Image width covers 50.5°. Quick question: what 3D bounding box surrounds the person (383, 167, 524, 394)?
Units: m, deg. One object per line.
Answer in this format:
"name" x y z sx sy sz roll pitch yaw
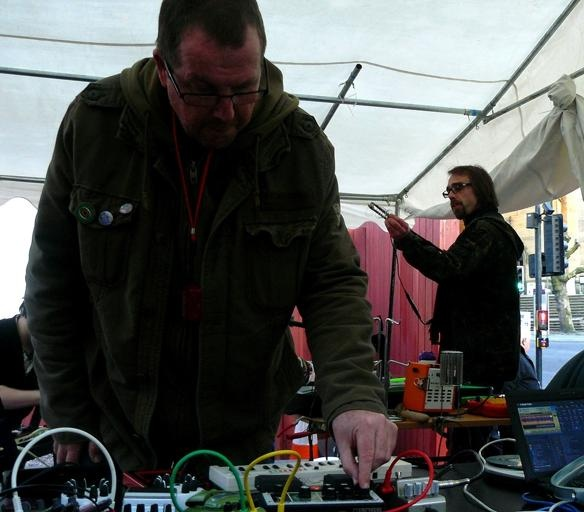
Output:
"person" 0.985 0.075 3.583 0.748 1.382 0.531 -4 -10 8

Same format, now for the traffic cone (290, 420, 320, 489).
"traffic cone" 0.031 1.487 4.589 0.181 0.476 0.200 5 -11 10

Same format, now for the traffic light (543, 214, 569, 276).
"traffic light" 2.169 -0.111 5.143 0.204 0.540 0.204 -8 -11 24
